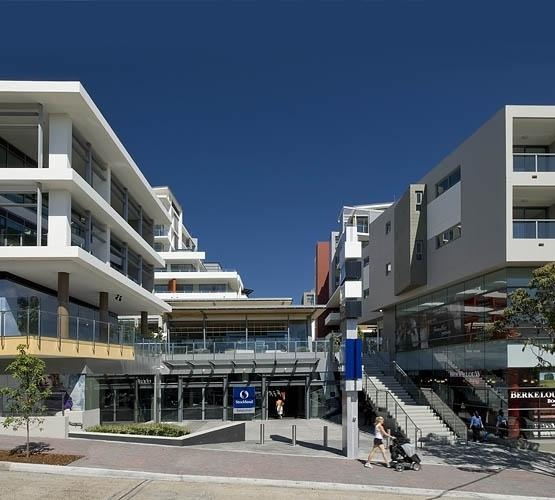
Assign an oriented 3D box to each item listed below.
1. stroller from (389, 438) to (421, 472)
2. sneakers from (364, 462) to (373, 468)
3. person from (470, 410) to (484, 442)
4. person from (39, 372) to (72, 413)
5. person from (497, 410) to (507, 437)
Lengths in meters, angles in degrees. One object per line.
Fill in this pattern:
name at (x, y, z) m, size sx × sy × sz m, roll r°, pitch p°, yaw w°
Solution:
stroller at (4.630, 7.439, 27.988) m, size 1.057 × 1.293 × 0.880 m, roll -1°, pitch -6°, yaw 1°
sneakers at (3.320, 7.819, 28.107) m, size 0.299 × 0.149 × 0.116 m, roll -4°, pitch -5°, yaw 10°
person at (9.200, 8.208, 35.878) m, size 0.536 × 1.235 × 0.625 m, roll 1°, pitch 1°, yaw -39°
person at (-9.781, 6.371, 34.493) m, size 1.050 × 1.875 × 1.144 m, roll -2°, pitch -1°, yaw 5°
person at (10.059, 7.782, 34.841) m, size 0.258 × 1.125 × 0.665 m, roll 2°, pitch 1°, yaw -14°
